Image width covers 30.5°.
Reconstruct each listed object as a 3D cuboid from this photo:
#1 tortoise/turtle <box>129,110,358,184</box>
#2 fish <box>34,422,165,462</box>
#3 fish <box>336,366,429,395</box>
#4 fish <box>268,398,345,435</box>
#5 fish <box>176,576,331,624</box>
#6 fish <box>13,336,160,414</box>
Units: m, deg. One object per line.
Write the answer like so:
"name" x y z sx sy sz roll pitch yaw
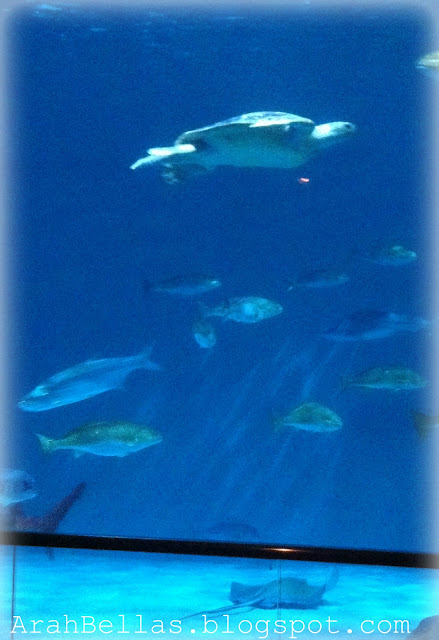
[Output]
"tortoise/turtle" 0.116 -0.881 4.204 1.176 0.308 0.149 0 3 9
"fish" -0.574 0.618 4.035 0.734 0.233 0.129 -2 26 3
"fish" 0.819 0.293 3.992 0.394 0.127 0.093 0 3 10
"fish" 0.447 0.495 4.049 0.341 0.156 0.142 0 3 9
"fish" 0.206 1.214 3.539 0.512 0.093 0.571 -11 -11 38
"fish" -0.678 0.315 4.218 0.725 0.321 0.045 -1 3 -5
